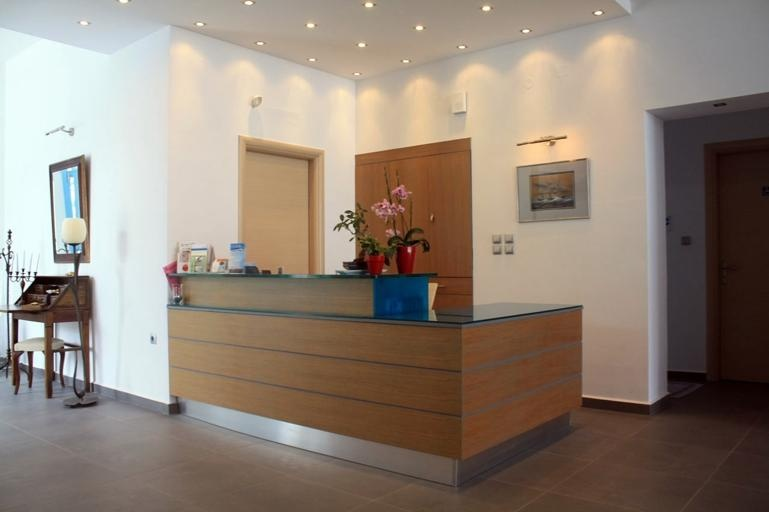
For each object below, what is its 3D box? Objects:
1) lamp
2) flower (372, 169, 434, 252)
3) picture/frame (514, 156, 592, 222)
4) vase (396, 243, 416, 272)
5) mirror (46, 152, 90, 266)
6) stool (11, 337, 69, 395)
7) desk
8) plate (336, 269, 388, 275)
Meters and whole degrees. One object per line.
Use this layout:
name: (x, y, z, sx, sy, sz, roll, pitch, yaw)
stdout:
lamp: (-3.793, 0.643, 6.535, 0.343, 2.233, 1.194, -3, 4, -31)
flower: (0.168, -0.389, 5.302, 0.598, 0.904, 0.468, 3, -2, -18)
picture/frame: (2.016, -0.791, 6.221, 0.782, 0.668, 0.054, -1, -1, 30)
vase: (0.190, 0.030, 4.856, 0.162, 0.265, 0.276, 0, 4, 1)
mirror: (-4.178, -0.664, 7.039, 0.079, 1.783, 1.546, 1, -3, -39)
stool: (-4.549, 1.379, 6.894, 0.542, 0.547, 0.527, -6, -2, -17)
desk: (-4.343, 1.070, 6.928, 1.383, 1.651, 0.682, -6, -7, 43)
plate: (-0.284, 0.141, 4.831, 0.262, 0.026, 0.388, -1, 4, -3)
